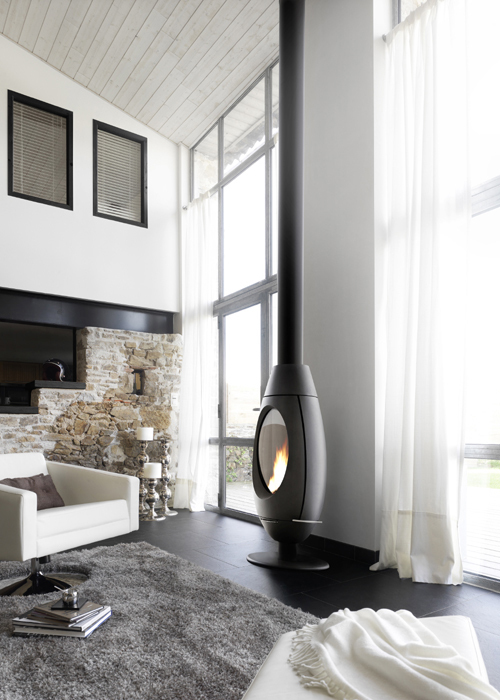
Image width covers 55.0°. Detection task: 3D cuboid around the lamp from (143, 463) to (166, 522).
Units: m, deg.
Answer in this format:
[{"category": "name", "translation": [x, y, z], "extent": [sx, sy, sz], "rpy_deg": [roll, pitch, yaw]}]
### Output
[{"category": "lamp", "translation": [-1.071, 1.560, 5.354], "extent": [0.227, 0.583, 0.622], "rpy_deg": [1, -6, -18]}]
